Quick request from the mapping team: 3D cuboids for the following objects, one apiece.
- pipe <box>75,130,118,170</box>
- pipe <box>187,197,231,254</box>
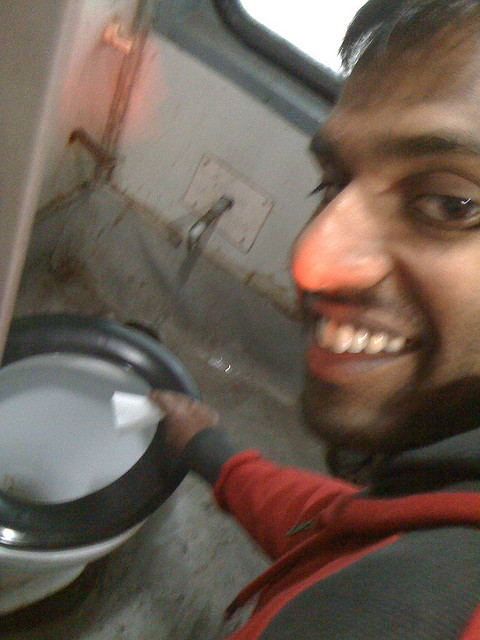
[{"bbox_3d":[-0.208,-0.254,0.917,0.016,0.016,0.064,31,3,43],"label":"pipe"},{"bbox_3d":[-0.050,-0.131,0.904,0.029,0.106,0.029,47,40,2],"label":"pipe"}]
